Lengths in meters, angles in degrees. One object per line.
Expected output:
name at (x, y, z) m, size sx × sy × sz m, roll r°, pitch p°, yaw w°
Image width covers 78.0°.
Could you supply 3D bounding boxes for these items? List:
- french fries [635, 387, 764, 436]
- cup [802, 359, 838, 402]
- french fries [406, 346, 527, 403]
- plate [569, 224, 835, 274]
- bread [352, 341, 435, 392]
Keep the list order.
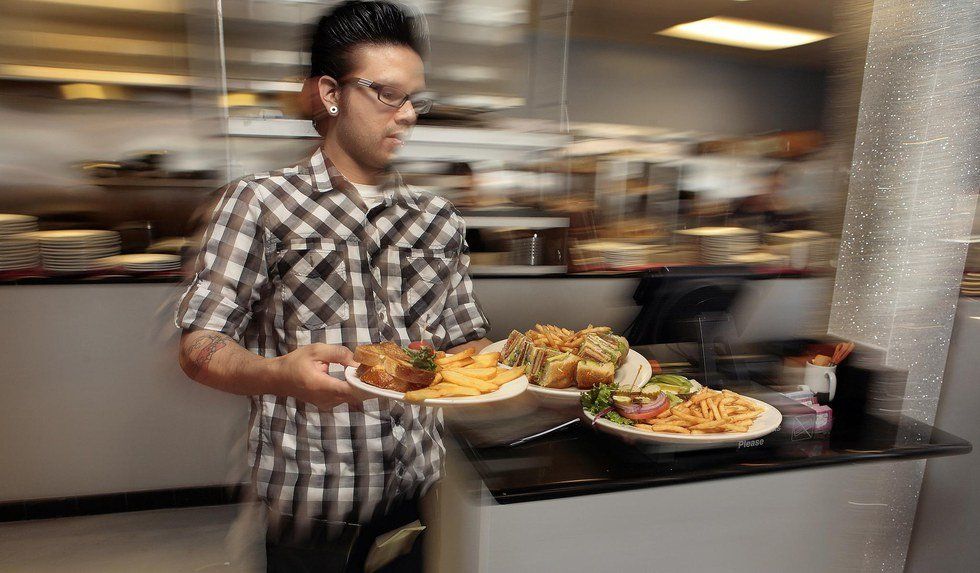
french fries at (0.358, 0.210, 0.992) m, size 0.141 × 0.030 × 0.119 m, roll -11°, pitch 6°, yaw -37°
cup at (0.639, 0.181, 1.164) m, size 0.057 × 0.071 × 0.040 m, roll 1°, pitch 10°, yaw 20°
french fries at (-0.039, 0.142, 0.920) m, size 0.168 × 0.079 × 0.024 m, roll 17°, pitch -49°, yaw -22°
plate at (0.276, -0.030, 0.755) m, size 0.291 × 0.061 × 0.024 m, roll 0°, pitch -4°, yaw 5°
bread at (-0.147, 0.123, 0.917) m, size 0.110 × 0.018 × 0.087 m, roll 6°, pitch 8°, yaw 0°
